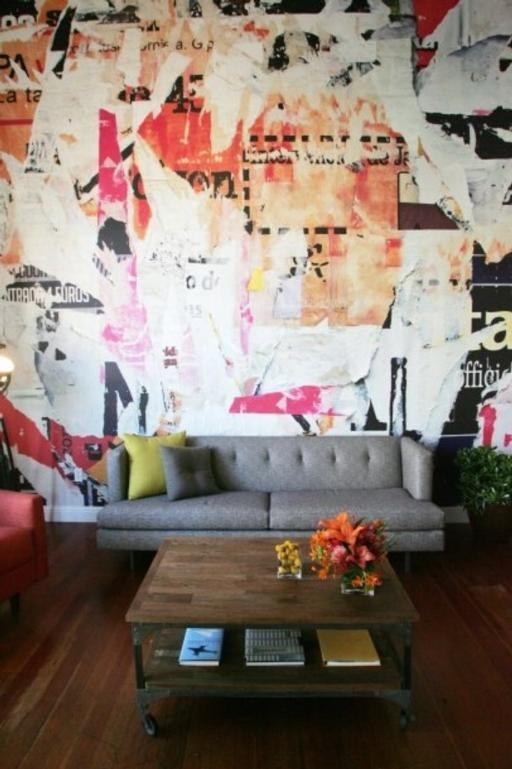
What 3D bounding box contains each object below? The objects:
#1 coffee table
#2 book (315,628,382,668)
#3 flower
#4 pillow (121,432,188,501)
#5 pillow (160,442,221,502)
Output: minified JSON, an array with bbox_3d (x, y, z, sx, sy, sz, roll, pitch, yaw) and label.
[{"bbox_3d":[0.066,1.004,2.593,1.047,0.450,0.802,0,7,1],"label":"coffee table"},{"bbox_3d":[0.355,1.019,2.389,0.155,0.027,0.162,0,7,0],"label":"book"},{"bbox_3d":[0.342,0.670,2.457,0.233,0.257,0.238,-2,9,-16],"label":"flower"},{"bbox_3d":[-0.726,0.527,4.045,0.148,0.390,0.390,-11,-10,26],"label":"pillow"},{"bbox_3d":[-0.426,0.550,3.929,0.348,0.322,0.095,-2,-21,-42],"label":"pillow"}]
